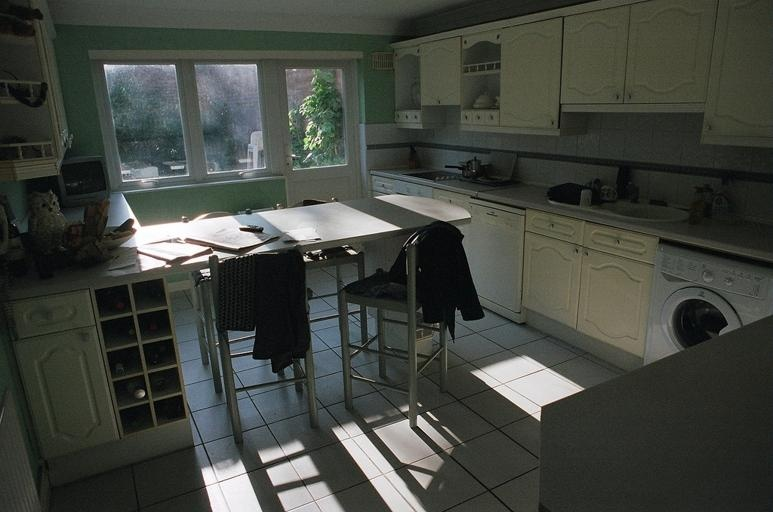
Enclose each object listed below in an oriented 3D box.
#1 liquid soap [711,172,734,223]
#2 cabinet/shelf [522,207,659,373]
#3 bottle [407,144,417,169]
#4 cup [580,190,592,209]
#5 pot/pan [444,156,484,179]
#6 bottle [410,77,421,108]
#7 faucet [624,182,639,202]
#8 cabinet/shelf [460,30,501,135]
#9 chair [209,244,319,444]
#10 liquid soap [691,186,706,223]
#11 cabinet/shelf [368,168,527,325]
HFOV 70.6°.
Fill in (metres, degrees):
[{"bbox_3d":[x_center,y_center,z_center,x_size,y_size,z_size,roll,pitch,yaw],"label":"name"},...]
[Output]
[{"bbox_3d":[2.473,-0.423,3.973,0.150,0.290,0.208,8,21,29],"label":"liquid soap"},{"bbox_3d":[1.803,0.204,4.510,0.702,1.181,1.215,-12,20,-29],"label":"cabinet/shelf"},{"bbox_3d":[0.335,-1.245,6.822,0.112,0.258,0.251,-2,18,2],"label":"bottle"},{"bbox_3d":[1.622,-0.465,4.422,0.072,0.138,0.142,10,22,33],"label":"cup"},{"bbox_3d":[0.817,-0.954,5.840,0.433,0.187,0.235,4,16,26],"label":"pot/pan"},{"bbox_3d":[0.363,-2.004,6.628,0.094,0.296,0.225,3,2,4],"label":"bottle"},{"bbox_3d":[2.031,-0.528,4.486,0.105,0.185,0.114,-12,21,-25],"label":"faucet"},{"bbox_3d":[0.941,-1.751,5.461,0.391,0.912,0.632,0,19,9],"label":"cabinet/shelf"},{"bbox_3d":[-0.825,0.551,3.703,0.634,1.303,0.727,-9,19,-18],"label":"chair"},{"bbox_3d":[2.265,-0.366,3.940,0.097,0.283,0.169,9,8,41],"label":"liquid soap"},{"bbox_3d":[0.556,-0.038,4.394,0.747,0.895,1.350,-13,19,-35],"label":"cabinet/shelf"}]
